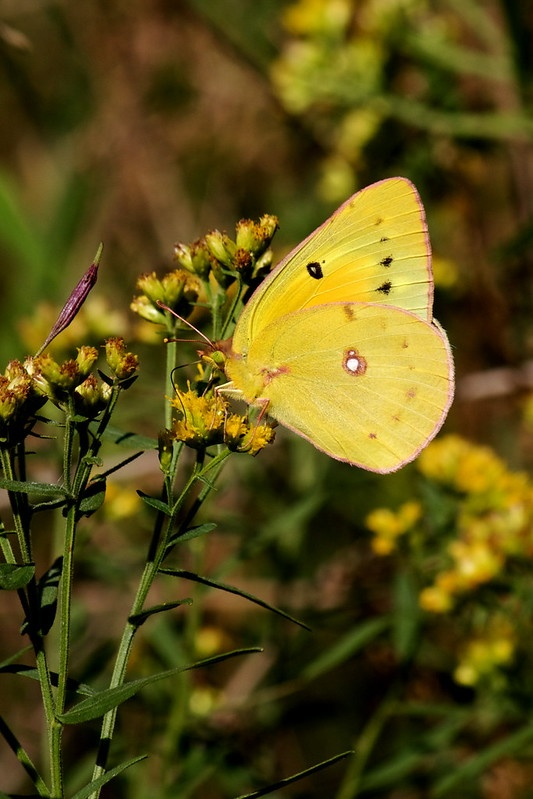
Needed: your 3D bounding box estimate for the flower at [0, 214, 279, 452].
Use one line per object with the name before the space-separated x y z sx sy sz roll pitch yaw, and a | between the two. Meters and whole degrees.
flower | -0.275 -0.144 1.564 0.501 0.468 0.251 8 10 -44
